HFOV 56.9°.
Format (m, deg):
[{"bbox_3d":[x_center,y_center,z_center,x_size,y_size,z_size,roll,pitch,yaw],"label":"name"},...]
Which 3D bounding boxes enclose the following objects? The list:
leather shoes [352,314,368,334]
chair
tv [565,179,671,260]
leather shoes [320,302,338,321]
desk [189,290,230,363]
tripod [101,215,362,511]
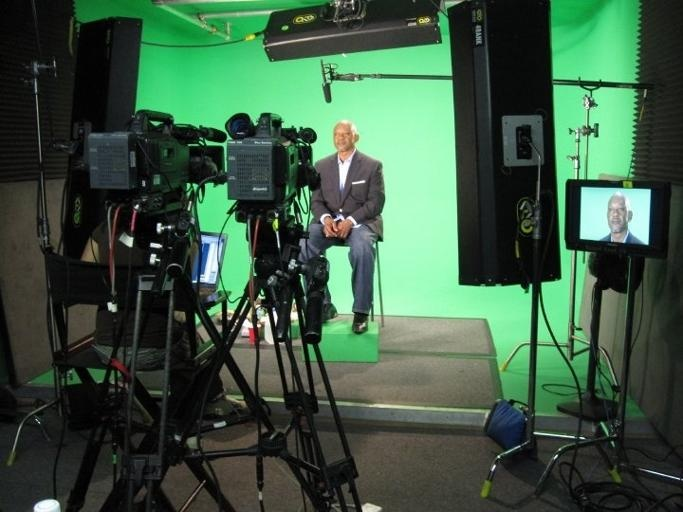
[{"bbox_3d":[0.149,0.571,5.173,0.120,0.154,0.343,0,-3,4],"label":"leather shoes"},{"bbox_3d":[-1.401,0.286,3.822,0.643,0.655,0.544,-12,-3,-22],"label":"chair"},{"bbox_3d":[1.631,-0.220,3.705,0.428,0.346,0.088,4,5,35],"label":"tv"},{"bbox_3d":[-0.110,0.482,5.371,0.107,0.157,0.336,-3,-10,9],"label":"leather shoes"},{"bbox_3d":[-0.814,0.440,3.867,0.263,0.359,0.532,1,9,5],"label":"desk"},{"bbox_3d":[-0.658,0.692,3.648,1.371,1.824,1.133,-10,11,-42],"label":"tripod"}]
